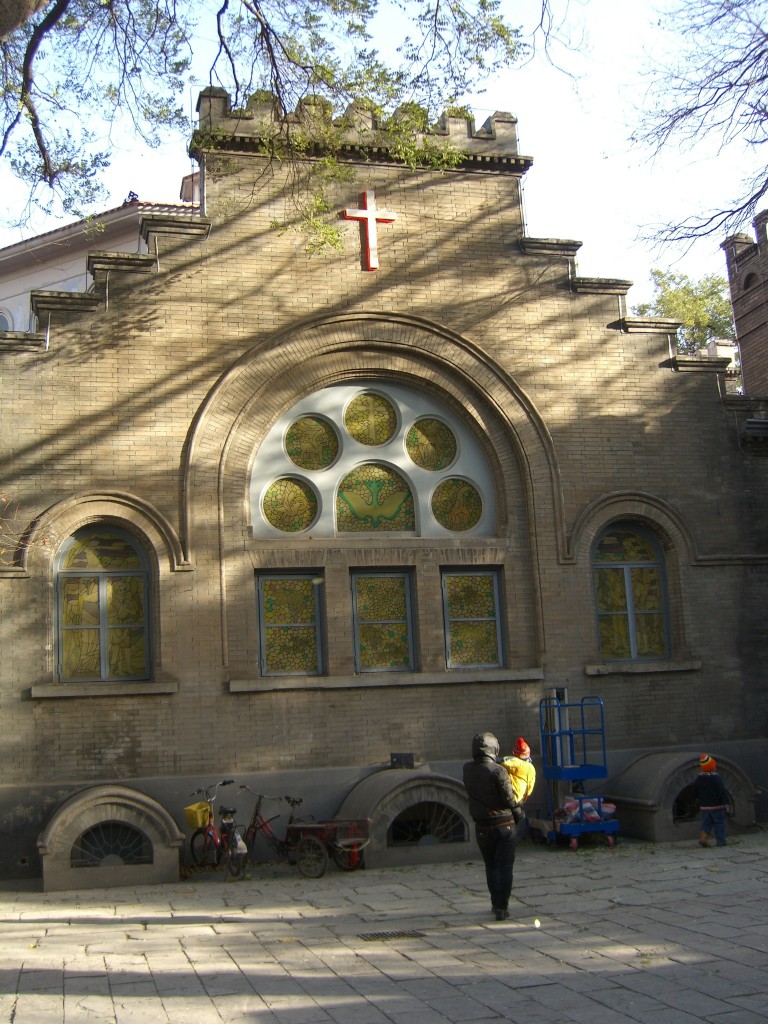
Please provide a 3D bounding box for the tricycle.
[{"bbox_3d":[-1.171,3.888,15.055,1.766,0.792,0.695,-4,-9,28],"label":"tricycle"}]

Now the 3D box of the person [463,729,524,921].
[{"bbox_3d":[1.056,2.953,11.573,0.473,1.737,0.877,-8,-13,3],"label":"person"}]

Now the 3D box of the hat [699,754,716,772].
[{"bbox_3d":[4.122,3.195,15.689,0.274,0.188,0.187,15,-19,-27],"label":"hat"}]

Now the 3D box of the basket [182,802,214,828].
[{"bbox_3d":[-2.170,3.629,14.800,0.379,0.216,0.295,9,-14,-39],"label":"basket"}]

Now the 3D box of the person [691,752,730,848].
[{"bbox_3d":[4.146,3.653,15.700,0.428,1.132,0.631,-10,-13,11],"label":"person"}]
